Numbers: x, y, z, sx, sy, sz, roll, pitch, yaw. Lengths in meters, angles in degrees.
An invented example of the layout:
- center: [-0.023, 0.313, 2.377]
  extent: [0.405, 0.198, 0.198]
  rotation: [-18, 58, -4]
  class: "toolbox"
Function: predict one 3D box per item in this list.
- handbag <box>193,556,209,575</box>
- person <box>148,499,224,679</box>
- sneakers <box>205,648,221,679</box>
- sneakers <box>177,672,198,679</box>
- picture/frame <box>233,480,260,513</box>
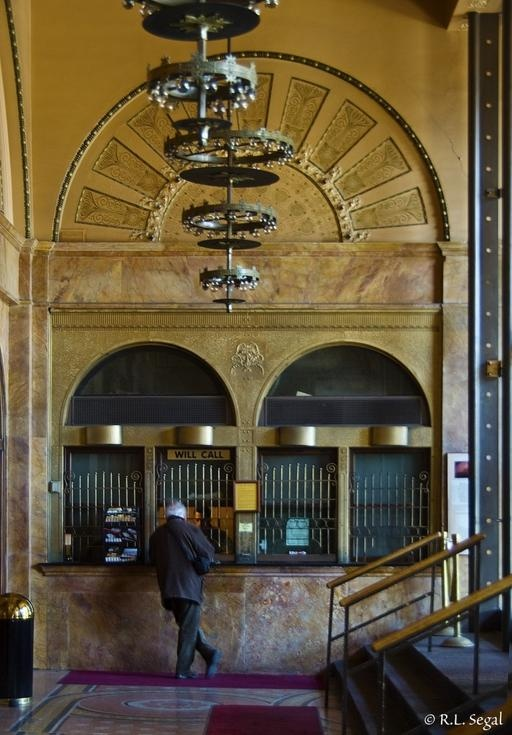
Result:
- center: [-0.497, 1.795, 7.391]
  extent: [0.136, 0.164, 0.062]
  rotation: [10, -8, -7]
  class: "handbag"
- center: [-0.703, 2.018, 7.390]
  extent: [0.594, 1.557, 0.288]
  rotation: [2, -11, 1]
  class: "person"
- center: [-0.402, 2.702, 7.443]
  extent: [0.145, 0.302, 0.107]
  rotation: [1, 11, 1]
  class: "sneakers"
- center: [-0.624, 2.764, 7.340]
  extent: [0.193, 0.075, 0.067]
  rotation: [0, -4, -15]
  class: "sneakers"
- center: [-0.096, 1.289, 8.066]
  extent: [0.339, 0.395, 0.044]
  rotation: [1, -17, -2]
  class: "picture/frame"
